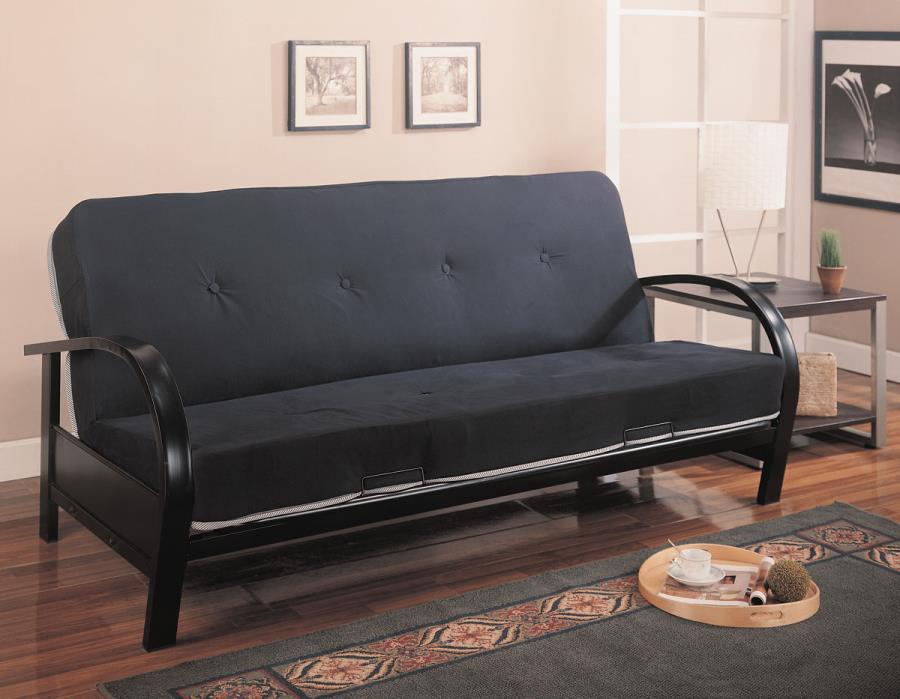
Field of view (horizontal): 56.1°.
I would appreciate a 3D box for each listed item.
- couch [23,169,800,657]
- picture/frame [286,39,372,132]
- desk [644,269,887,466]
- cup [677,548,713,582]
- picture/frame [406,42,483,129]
[{"bbox_3d":[-0.102,0.023,2.881,2.351,0.986,1.071,-11,26,-30],"label":"couch"},{"bbox_3d":[-0.538,-1.143,3.625,0.514,0.405,0.033,-4,8,-27],"label":"picture/frame"},{"bbox_3d":[1.300,-0.003,3.750,0.917,0.766,0.961,-7,10,-35],"label":"desk"},{"bbox_3d":[0.663,0.582,2.288,0.079,0.057,0.089,-5,10,-28],"label":"cup"},{"bbox_3d":[-0.041,-1.220,3.861,0.517,0.405,0.034,-3,10,-23],"label":"picture/frame"}]
